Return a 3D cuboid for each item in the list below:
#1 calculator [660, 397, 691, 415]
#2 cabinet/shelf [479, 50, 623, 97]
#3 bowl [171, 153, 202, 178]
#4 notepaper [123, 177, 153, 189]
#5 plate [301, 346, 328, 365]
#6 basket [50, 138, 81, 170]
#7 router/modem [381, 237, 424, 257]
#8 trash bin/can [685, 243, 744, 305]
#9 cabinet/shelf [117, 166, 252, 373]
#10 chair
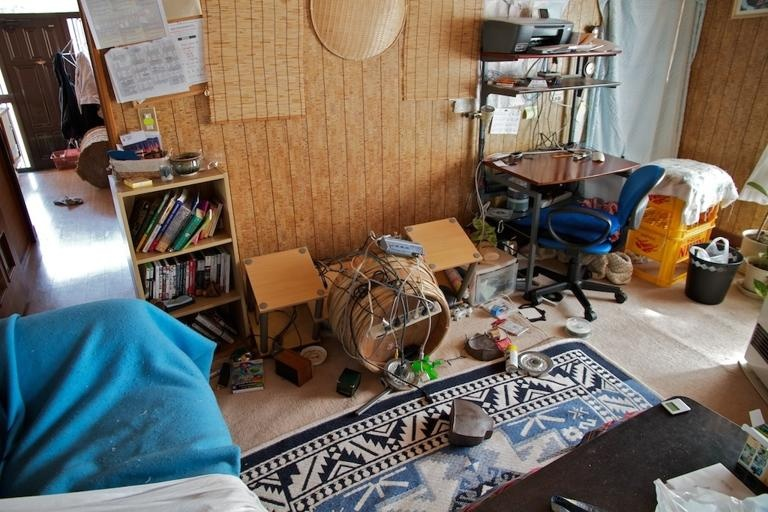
[{"bbox_3d":[1.434,0.741,2.500,0.085,0.010,0.099,-16,19,7],"label":"calculator"},{"bbox_3d":[1.311,-1.472,4.064,1.011,0.340,0.539,-12,27,-20],"label":"cabinet/shelf"},{"bbox_3d":[-1.234,-0.577,3.212,0.162,0.086,0.160,0,29,0],"label":"bowl"},{"bbox_3d":[-1.497,-0.453,3.100,0.153,0.051,0.097,-13,27,-23],"label":"notepaper"},{"bbox_3d":[-0.489,0.687,3.529,0.135,0.034,0.127,-20,35,-31],"label":"plate"},{"bbox_3d":[-4.286,-1.376,6.840,0.371,0.345,0.321,-17,30,-27],"label":"basket"},{"bbox_3d":[0.116,-0.056,3.302,0.234,0.068,0.134,8,28,-30],"label":"router/modem"},{"bbox_3d":[2.500,0.150,3.940,0.329,0.421,0.188,18,34,35],"label":"trash bin/can"},{"bbox_3d":[-1.454,0.033,3.645,0.734,0.403,1.290,9,18,-35],"label":"cabinet/shelf"},{"bbox_3d":[1.528,-0.189,3.984,1.063,1.000,0.841,9,19,27],"label":"chair"}]
